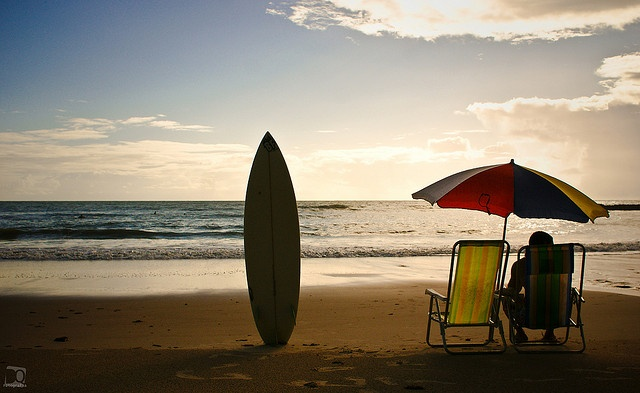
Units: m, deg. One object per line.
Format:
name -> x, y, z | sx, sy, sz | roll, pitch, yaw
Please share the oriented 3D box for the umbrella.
umbrella -> 3.556, 0.442, 11.588 | 3.218, 2.073, 3.303 | -7, 14, -44
